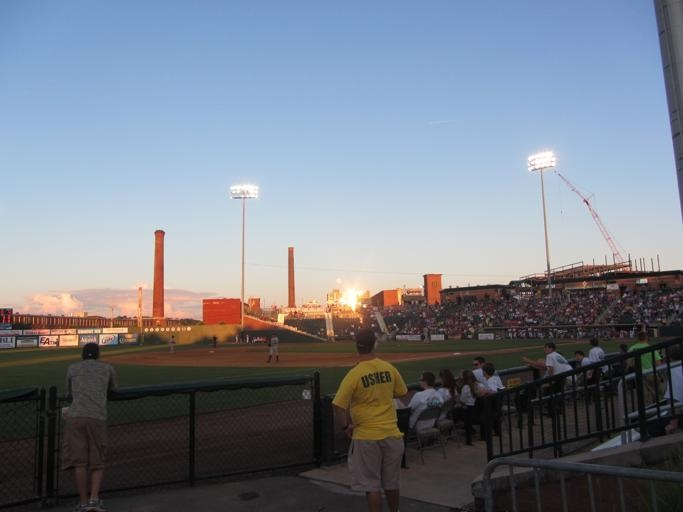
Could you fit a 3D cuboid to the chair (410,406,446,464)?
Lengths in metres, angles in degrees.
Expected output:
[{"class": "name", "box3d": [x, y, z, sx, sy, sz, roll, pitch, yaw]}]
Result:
[{"class": "chair", "box3d": [1.503, 3.021, 10.381, 0.585, 0.901, 1.160, -3, -5, 8]}]
